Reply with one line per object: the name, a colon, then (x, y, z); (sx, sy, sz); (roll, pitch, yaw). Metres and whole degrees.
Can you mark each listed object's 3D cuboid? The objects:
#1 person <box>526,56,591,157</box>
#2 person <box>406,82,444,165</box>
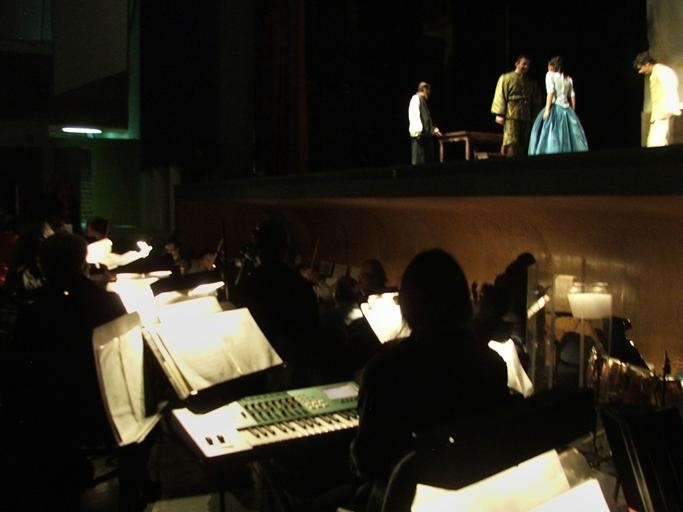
person: (2.096, -1.473, 5.479); (0.537, 0.899, 0.365); (-3, 5, 14)
person: (0.996, -1.665, 6.835); (0.360, 1.026, 0.793); (-4, 6, 10)
